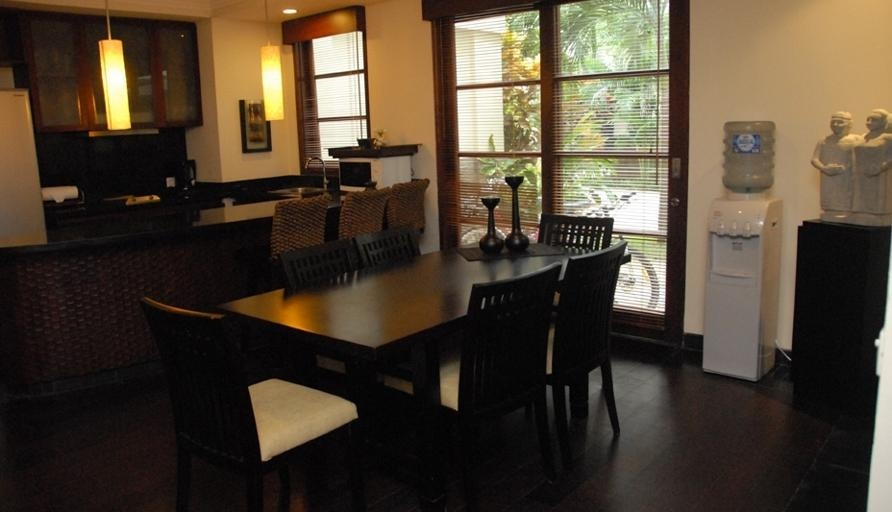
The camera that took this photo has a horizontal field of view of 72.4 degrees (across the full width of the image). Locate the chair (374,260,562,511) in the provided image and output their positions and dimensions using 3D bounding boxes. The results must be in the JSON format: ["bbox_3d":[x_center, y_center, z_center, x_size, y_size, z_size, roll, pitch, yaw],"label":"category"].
[{"bbox_3d":[0.383,0.856,4.151,0.837,1.574,0.416,-9,16,-24],"label":"chair"}]

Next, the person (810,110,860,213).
[{"bbox_3d":[3.150,-0.721,4.914,0.309,0.838,0.203,10,19,39],"label":"person"}]

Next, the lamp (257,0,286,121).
[{"bbox_3d":[-1.895,-1.896,6.661,0.216,0.770,0.314,-6,15,-16],"label":"lamp"}]

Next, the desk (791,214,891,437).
[{"bbox_3d":[3.155,0.504,4.901,0.666,1.516,0.609,5,16,27],"label":"desk"}]

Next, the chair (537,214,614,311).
[{"bbox_3d":[1.196,-0.126,5.487,0.445,0.691,0.467,7,11,36],"label":"chair"}]

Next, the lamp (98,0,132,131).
[{"bbox_3d":[-3.165,-1.814,5.755,0.223,1.191,0.376,-10,17,-27],"label":"lamp"}]
